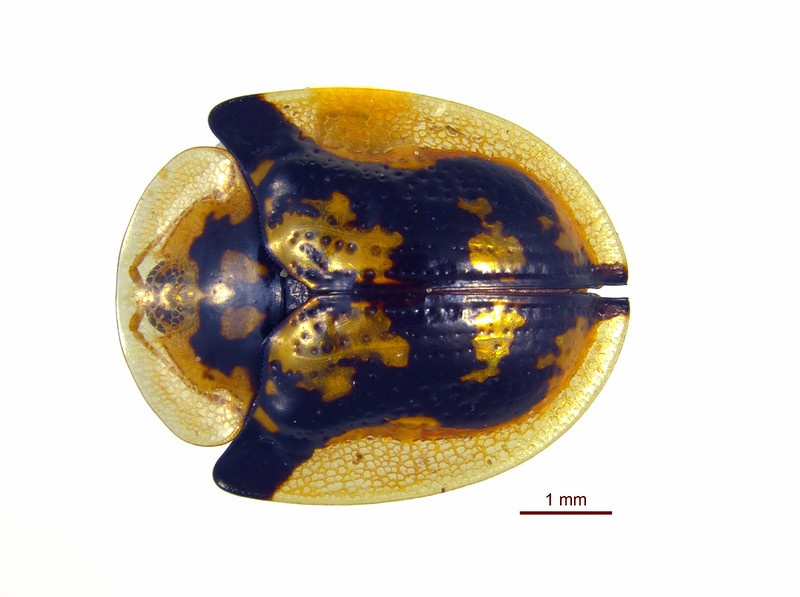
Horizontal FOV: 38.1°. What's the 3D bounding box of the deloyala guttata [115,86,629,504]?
[{"bbox_3d":[-0.151,-0.162,9.024,4.525,3.171,2.630,1,-83,2],"label":"deloyala guttata"}]
